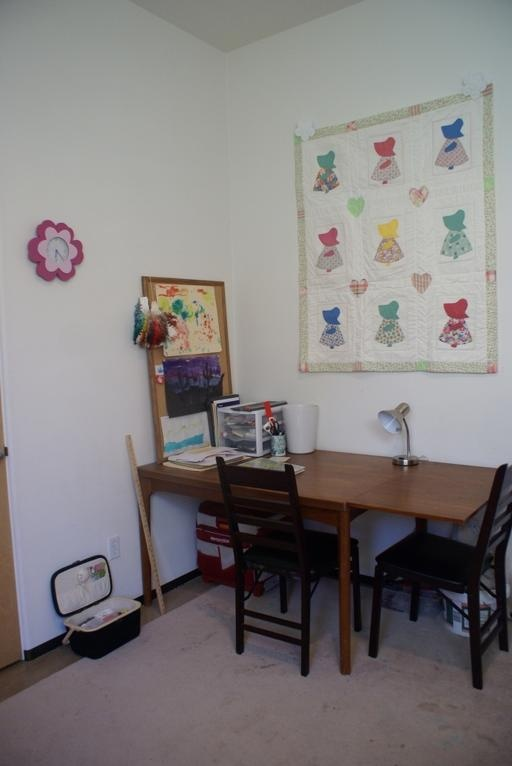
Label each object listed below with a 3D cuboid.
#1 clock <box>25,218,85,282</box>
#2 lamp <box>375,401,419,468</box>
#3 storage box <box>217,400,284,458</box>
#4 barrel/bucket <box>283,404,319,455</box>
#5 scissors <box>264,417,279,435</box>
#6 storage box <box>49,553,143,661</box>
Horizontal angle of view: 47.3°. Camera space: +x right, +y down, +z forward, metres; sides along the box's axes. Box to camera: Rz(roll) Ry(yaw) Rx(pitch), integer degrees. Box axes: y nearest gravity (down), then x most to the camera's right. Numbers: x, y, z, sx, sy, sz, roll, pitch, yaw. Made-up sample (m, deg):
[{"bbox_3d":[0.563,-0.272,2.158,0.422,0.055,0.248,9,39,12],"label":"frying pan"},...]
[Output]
[{"bbox_3d":[-0.760,-0.493,2.164,0.022,0.216,0.216,0,21,29],"label":"clock"},{"bbox_3d":[0.607,0.218,2.486,0.236,0.368,0.180,0,0,1],"label":"lamp"},{"bbox_3d":[-0.035,0.204,2.758,0.243,0.194,0.252,3,9,30],"label":"storage box"},{"bbox_3d":[0.213,0.210,2.702,0.199,0.241,0.208,-1,0,0],"label":"barrel/bucket"},{"bbox_3d":[0.073,0.191,2.667,0.059,0.084,0.026,-2,8,32],"label":"scissors"},{"bbox_3d":[-0.620,0.865,2.289,0.234,0.329,0.313,1,5,37],"label":"storage box"}]
